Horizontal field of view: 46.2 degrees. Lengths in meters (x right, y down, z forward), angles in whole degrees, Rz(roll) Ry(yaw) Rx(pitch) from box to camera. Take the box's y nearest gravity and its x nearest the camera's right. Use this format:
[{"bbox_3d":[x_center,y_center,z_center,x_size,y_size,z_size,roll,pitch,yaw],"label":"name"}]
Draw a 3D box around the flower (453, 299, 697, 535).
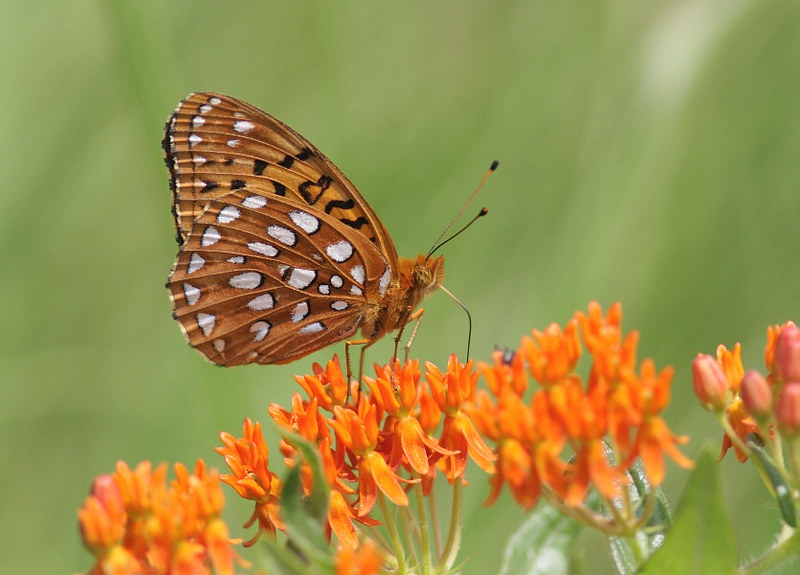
[{"bbox_3d":[0.439,0.320,2.230,0.444,0.498,0.236,4,-52,9],"label":"flower"}]
